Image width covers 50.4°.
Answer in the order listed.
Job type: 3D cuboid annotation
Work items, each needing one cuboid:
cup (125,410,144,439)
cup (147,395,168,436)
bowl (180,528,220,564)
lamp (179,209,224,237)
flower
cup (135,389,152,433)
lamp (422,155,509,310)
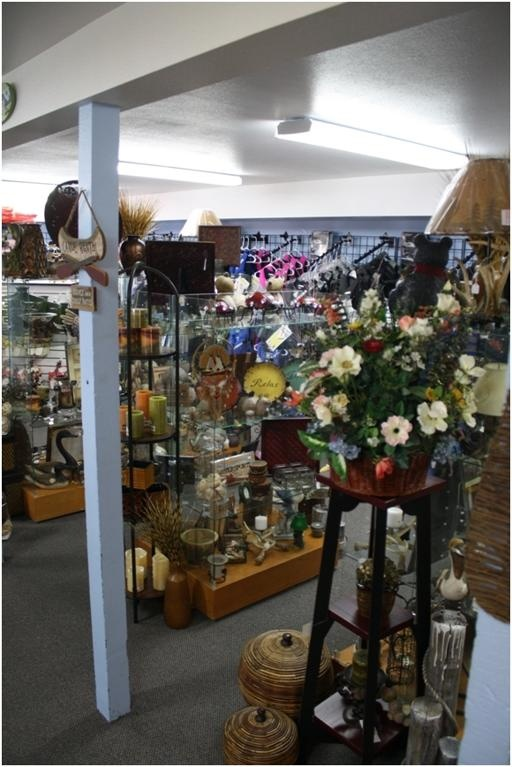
[{"bbox_3d":[-0.630,0.209,2.873,0.076,0.130,0.148,0,10,1],"label":"cup"},{"bbox_3d":[-0.529,0.157,2.954,0.101,0.203,0.203,-2,10,-11],"label":"cup"},{"bbox_3d":[-0.296,0.846,2.882,0.182,0.135,0.184,1,17,0],"label":"bowl"},{"bbox_3d":[-0.478,-1.349,4.547,0.362,0.236,0.450,0,6,-2],"label":"lamp"},{"bbox_3d":[0.332,0.013,1.400,0.477,0.518,0.305,2,10,13],"label":"flower"},{"bbox_3d":[-0.611,0.119,2.969,0.106,0.183,0.181,0,7,-10],"label":"cup"},{"bbox_3d":[0.576,-0.397,1.447,0.128,0.421,0.259,-4,10,-19],"label":"lamp"}]
